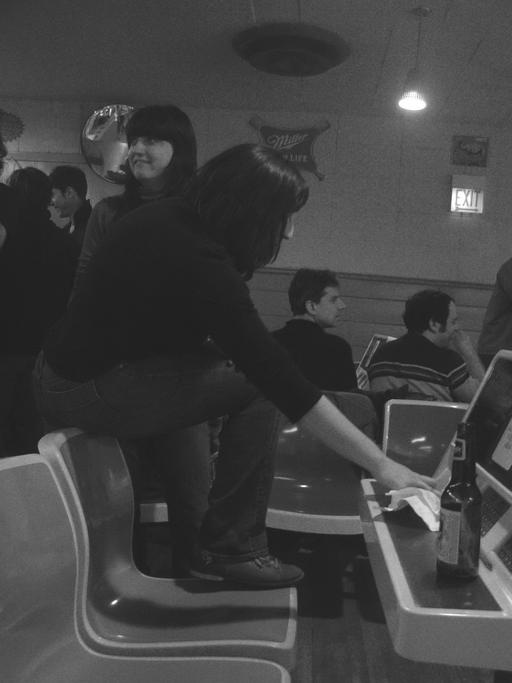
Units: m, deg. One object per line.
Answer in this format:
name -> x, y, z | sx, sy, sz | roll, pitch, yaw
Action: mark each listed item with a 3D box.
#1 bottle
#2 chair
bottle -> 0.236, 0.184, 0.701 | 0.048, 0.170, 0.091 | -1, -3, 21
chair -> 0.021, 0.305, 1.001 | 0.515, 0.340, 0.511 | 0, -1, -4
